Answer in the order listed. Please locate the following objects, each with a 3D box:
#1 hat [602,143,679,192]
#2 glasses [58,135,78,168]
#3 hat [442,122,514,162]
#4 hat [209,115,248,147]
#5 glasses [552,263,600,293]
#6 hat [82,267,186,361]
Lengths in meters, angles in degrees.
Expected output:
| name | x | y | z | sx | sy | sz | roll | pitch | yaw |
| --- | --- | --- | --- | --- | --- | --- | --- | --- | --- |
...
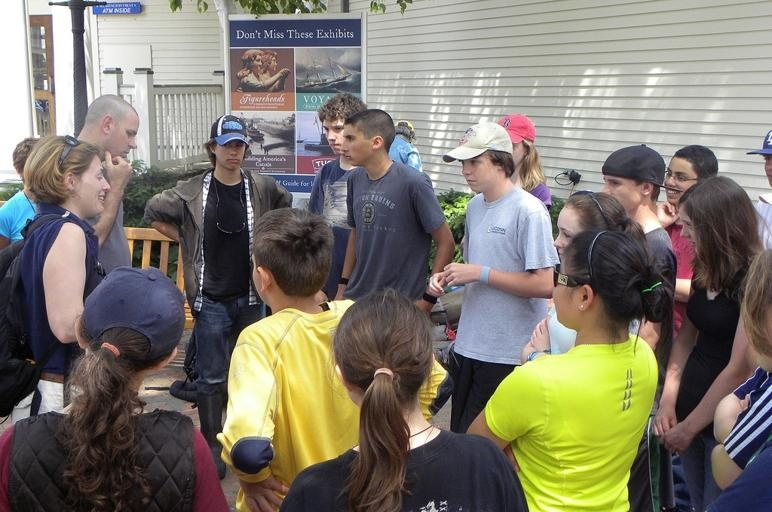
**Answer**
| name | x | y | z | sx | sy | sz | roll | pitch | yaw |
| --- | --- | --- | --- | --- | --- | --- | --- | --- | --- |
| hat | 1.753 | -0.628 | 4.164 | 0.391 | 0.205 | 0.277 | -3 | 21 | -15 |
| glasses | -2.096 | -0.699 | 3.988 | 0.147 | 0.199 | 0.075 | 22 | 0 | -30 |
| hat | 0.636 | -0.802 | 4.210 | 0.407 | 0.224 | 0.257 | -5 | 11 | -19 |
| hat | -1.345 | -1.077 | 5.154 | 0.230 | 0.188 | 0.343 | -2 | 12 | -27 |
| glasses | 0.897 | 0.111 | 2.928 | 0.068 | 0.103 | 0.237 | -4 | 14 | -33 |
| hat | -1.164 | 0.268 | 2.799 | 0.425 | 0.393 | 0.262 | -2 | 13 | -27 |
